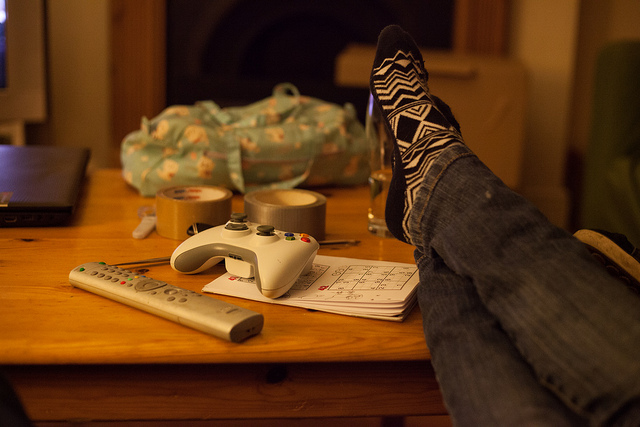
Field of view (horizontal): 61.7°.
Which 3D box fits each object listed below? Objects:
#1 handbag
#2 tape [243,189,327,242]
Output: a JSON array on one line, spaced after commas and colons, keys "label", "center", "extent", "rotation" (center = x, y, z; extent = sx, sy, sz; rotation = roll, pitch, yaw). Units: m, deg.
[{"label": "handbag", "center": [-0.144, -0.140, 1.173], "extent": [0.460, 0.166, 0.265], "rotation": [-2, 24, -17]}, {"label": "tape", "center": [-0.055, -0.019, 0.953], "extent": [0.134, 0.096, 0.188], "rotation": [6, 10, 27]}]
